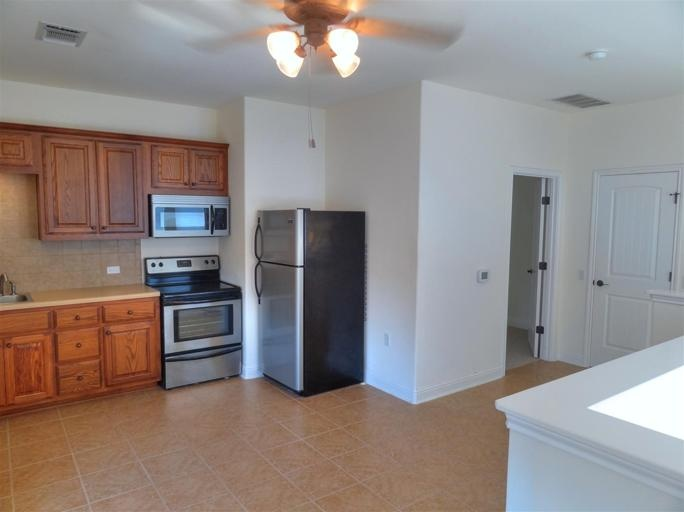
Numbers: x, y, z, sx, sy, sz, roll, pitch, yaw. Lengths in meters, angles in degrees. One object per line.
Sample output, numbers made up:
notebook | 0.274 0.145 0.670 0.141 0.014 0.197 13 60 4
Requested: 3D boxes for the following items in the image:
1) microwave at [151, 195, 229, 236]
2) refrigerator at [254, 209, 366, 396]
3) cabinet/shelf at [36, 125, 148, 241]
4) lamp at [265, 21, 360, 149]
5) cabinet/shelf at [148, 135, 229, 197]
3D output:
microwave | -1.608 -0.422 5.469 0.698 0.400 0.439 -1 2 -41
refrigerator | -0.319 0.420 5.253 1.133 1.823 0.773 -1 13 -6
cabinet/shelf | -2.451 -0.705 5.034 1.131 1.313 0.481 -1 5 -33
lamp | -0.136 -1.164 3.825 0.823 0.878 0.874 -5 16 -21
cabinet/shelf | -1.620 -0.918 5.512 0.995 0.726 0.507 -1 2 -37
